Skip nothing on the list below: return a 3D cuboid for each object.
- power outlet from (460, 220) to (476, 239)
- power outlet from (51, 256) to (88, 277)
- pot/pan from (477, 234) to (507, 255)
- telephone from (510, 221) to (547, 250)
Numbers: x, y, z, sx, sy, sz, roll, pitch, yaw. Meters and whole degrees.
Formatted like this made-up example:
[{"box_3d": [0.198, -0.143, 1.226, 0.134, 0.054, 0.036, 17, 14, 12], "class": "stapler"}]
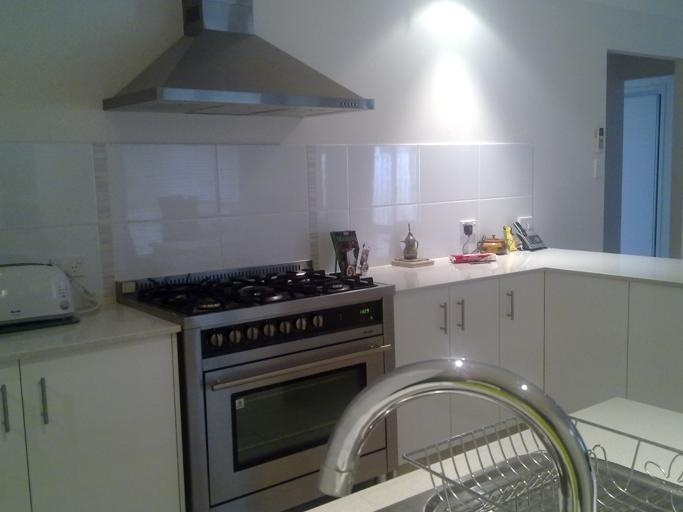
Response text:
[{"box_3d": [0.905, -0.190, 3.616, 0.115, 0.134, 0.030, -3, 5, -31], "class": "power outlet"}, {"box_3d": [-1.275, 0.045, 2.383, 0.094, 0.097, 0.023, -26, -5, -45], "class": "power outlet"}, {"box_3d": [1.062, -0.071, 3.606, 0.142, 0.108, 0.148, 0, 10, 13], "class": "pot/pan"}, {"box_3d": [1.396, -0.152, 3.823, 0.226, 0.221, 0.177, -10, 8, -40], "class": "telephone"}]
